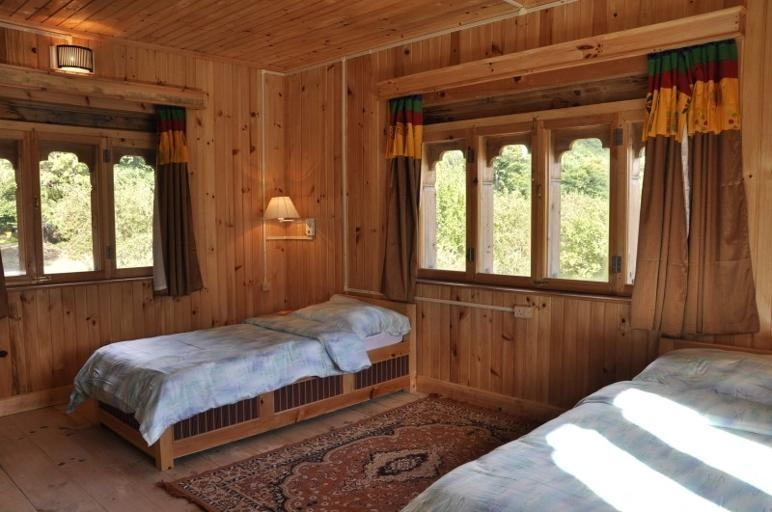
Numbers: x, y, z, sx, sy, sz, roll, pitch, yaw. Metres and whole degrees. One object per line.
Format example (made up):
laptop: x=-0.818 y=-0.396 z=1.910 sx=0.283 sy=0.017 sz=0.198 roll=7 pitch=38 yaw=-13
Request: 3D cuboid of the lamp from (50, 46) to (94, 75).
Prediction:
lamp: x=-2.950 y=-1.837 z=5.341 sx=0.365 sy=0.273 sz=0.223 roll=-5 pitch=15 yaw=-18

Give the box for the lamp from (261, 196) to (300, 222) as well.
lamp: x=-1.230 y=-0.515 z=6.481 sx=0.332 sy=0.198 sz=0.325 roll=-2 pitch=2 yaw=-41
